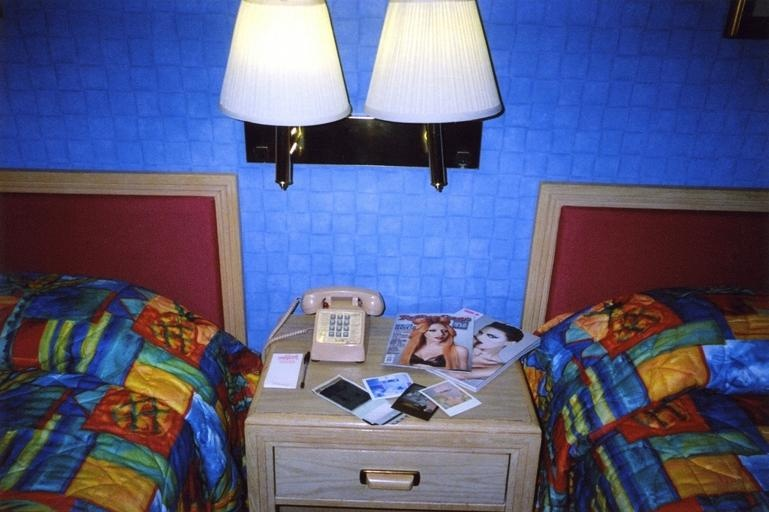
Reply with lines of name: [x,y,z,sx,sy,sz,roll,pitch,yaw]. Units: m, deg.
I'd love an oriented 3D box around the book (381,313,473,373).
book: [0.170,0.307,2.212,0.218,0.030,0.229,2,30,9]

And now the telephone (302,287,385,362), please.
telephone: [-0.156,0.240,2.199,0.324,0.147,0.256,1,44,1]

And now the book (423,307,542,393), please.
book: [0.392,0.337,2.188,0.293,0.037,0.263,-27,38,-36]
